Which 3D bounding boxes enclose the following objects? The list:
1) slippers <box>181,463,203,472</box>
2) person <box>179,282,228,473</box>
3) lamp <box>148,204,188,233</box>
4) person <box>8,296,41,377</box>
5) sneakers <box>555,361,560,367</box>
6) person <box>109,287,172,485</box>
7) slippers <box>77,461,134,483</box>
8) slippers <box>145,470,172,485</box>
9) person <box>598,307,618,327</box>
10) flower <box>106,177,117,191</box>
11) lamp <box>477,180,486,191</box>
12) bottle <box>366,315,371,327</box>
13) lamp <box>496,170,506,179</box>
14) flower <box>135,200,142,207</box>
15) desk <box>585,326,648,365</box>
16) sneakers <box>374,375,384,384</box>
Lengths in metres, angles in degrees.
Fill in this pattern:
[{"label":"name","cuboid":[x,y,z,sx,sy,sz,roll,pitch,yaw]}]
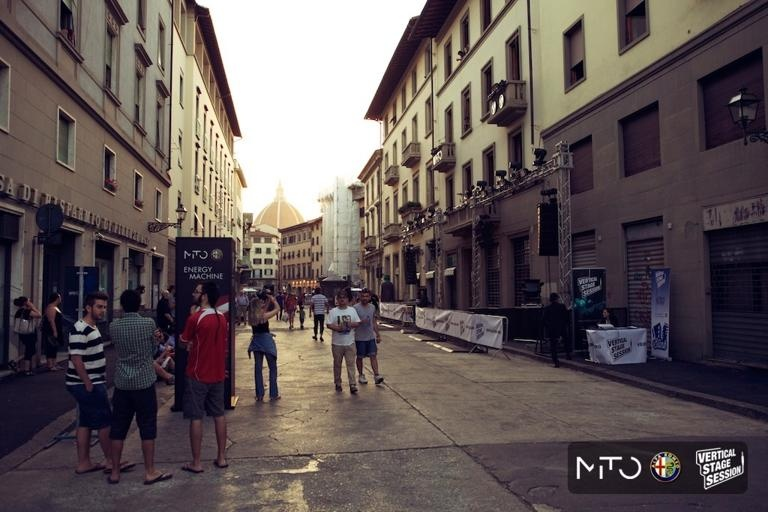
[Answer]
[{"label":"slippers","cuboid":[-3.220,3.553,10.440,0.352,0.107,0.149,6,-7,33]},{"label":"person","cuboid":[-3.065,2.033,10.624,0.736,3.094,0.791,-2,5,-18]},{"label":"lamp","cuboid":[-10.583,-1.859,30.199,1.585,1.513,0.595,1,-9,-6]},{"label":"person","cuboid":[-9.507,2.087,16.472,0.715,2.044,0.918,-3,6,-32]},{"label":"sneakers","cuboid":[5.065,3.182,18.272,0.140,0.160,0.134,4,-3,-10]},{"label":"person","cuboid":[-4.095,2.138,10.213,0.911,3.064,0.699,-1,5,-6]},{"label":"slippers","cuboid":[-4.675,3.578,10.438,0.807,0.246,0.325,3,-5,-25]},{"label":"slippers","cuboid":[-3.670,3.615,10.117,0.327,0.113,0.178,-3,-4,-20]},{"label":"person","cuboid":[6.920,1.931,19.351,0.464,0.964,0.571,2,-1,19]},{"label":"flower","cuboid":[-9.943,-2.610,22.638,0.106,0.434,0.421,14,2,24]},{"label":"lamp","cuboid":[4.605,-3.377,29.884,0.440,0.624,0.478,-5,-7,25]},{"label":"bottle","cuboid":[-0.389,1.654,15.653,0.062,0.215,0.241,3,6,32]},{"label":"lamp","cuboid":[5.123,-3.610,27.431,0.452,0.368,0.776,1,5,12]},{"label":"flower","cuboid":[-10.321,-2.207,26.250,0.240,0.349,0.992,-2,5,-15]},{"label":"desk","cuboid":[6.712,2.623,18.309,1.550,1.033,1.063,0,7,-5]},{"label":"sneakers","cuboid":[-0.125,3.103,15.685,0.268,0.273,0.504,0,5,-1]}]
